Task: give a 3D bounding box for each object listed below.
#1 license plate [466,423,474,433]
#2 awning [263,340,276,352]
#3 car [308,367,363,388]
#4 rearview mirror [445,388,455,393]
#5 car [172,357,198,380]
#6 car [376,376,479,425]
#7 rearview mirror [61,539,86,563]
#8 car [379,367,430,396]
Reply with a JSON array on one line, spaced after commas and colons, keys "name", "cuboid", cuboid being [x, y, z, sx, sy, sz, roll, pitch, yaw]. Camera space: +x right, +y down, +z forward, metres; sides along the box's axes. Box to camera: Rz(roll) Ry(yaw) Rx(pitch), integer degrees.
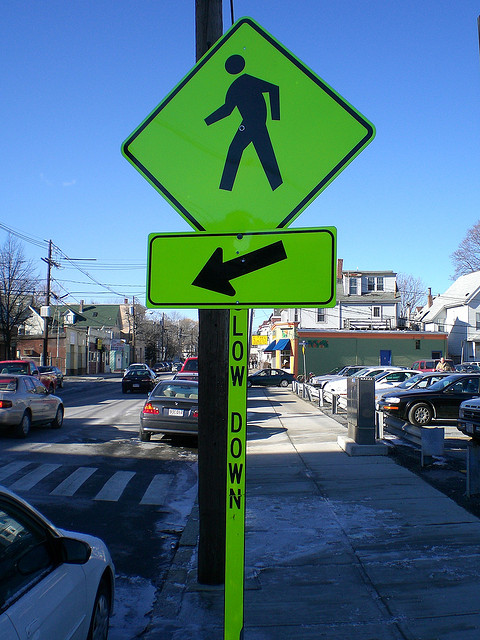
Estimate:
[{"name": "license plate", "cuboid": [4.465, 2.095, 11.524, 0.114, 0.235, 0.162, 3, -2, -8]}, {"name": "awning", "cuboid": [2.775, 2.331, 52.473, 0.327, 1.067, 0.744, 17, 0, -29]}, {"name": "car", "cuboid": [4.194, 2.621, 27.120, 2.027, 0.749, 0.954, 1, -7, -23]}, {"name": "rearview mirror", "cuboid": [5.314, 1.776, 15.038, 0.292, 0.096, 0.074, -17, -6, 1]}, {"name": "car", "cuboid": [-1.980, 1.743, 21.448, 0.915, 0.896, 1.774, 1, -5, -6]}, {"name": "car", "cuboid": [4.789, 2.035, 15.092, 2.355, 0.892, 1.125, 1, -6, -5]}, {"name": "rearview mirror", "cuboid": [-0.786, 1.086, 2.783, 0.099, 0.073, 0.014, 2, -12, -6]}, {"name": "car", "cuboid": [5.613, 2.329, 21.119, 1.856, 0.965, 1.143, 2, -3, -6]}]
